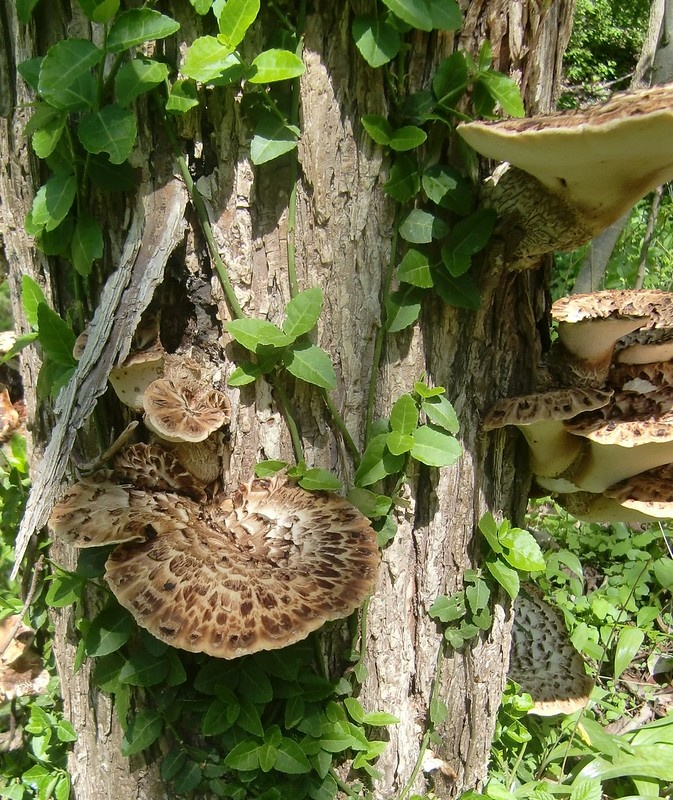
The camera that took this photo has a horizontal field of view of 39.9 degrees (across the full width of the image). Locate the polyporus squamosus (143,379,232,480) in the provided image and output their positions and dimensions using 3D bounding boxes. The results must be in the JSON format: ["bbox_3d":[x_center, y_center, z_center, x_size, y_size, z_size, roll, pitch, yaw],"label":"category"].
[{"bbox_3d":[-0.474,0.110,3.029,0.133,0.322,0.308,-39,-7,31],"label":"polyporus squamosus"}]

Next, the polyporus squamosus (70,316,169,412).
[{"bbox_3d":[-0.736,-0.056,3.100,0.307,0.260,0.272,-3,-3,30],"label":"polyporus squamosus"}]

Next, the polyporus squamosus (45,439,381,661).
[{"bbox_3d":[-0.265,0.393,2.977,0.276,1.014,0.949,10,28,30],"label":"polyporus squamosus"}]
